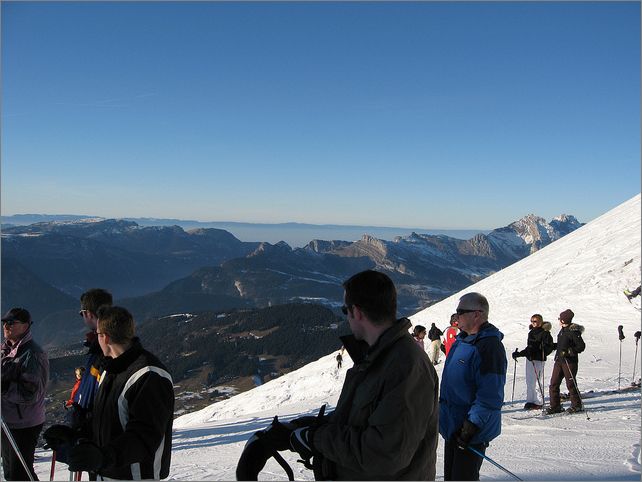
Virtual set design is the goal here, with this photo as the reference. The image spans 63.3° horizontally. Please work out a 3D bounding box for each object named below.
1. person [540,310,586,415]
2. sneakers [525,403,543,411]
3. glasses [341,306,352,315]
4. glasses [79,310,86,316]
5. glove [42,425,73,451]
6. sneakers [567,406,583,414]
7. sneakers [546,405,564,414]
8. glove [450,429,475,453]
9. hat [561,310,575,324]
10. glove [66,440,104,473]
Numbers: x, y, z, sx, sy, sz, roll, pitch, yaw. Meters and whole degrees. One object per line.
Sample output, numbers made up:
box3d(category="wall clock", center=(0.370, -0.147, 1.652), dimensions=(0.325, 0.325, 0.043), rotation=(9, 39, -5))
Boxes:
box3d(category="person", center=(6.691, 3.331, 14.211), dimensions=(0.948, 2.757, 0.980), rotation=(-2, 3, 27))
box3d(category="sneakers", center=(6.023, 4.683, 14.789), dimensions=(0.525, 0.237, 0.179), rotation=(2, -5, -16))
box3d(category="glasses", center=(0.333, 0.883, 6.695), dimensions=(0.113, 0.127, 0.036), rotation=(0, -3, -9))
box3d(category="glasses", center=(-4.127, 1.233, 8.975), dimensions=(0.131, 0.045, 0.129), rotation=(-4, 2, -28))
box3d(category="glove", center=(-3.800, 2.784, 7.415), dimensions=(0.212, 0.337, 0.424), rotation=(-23, -17, 36))
box3d(category="sneakers", center=(6.953, 4.579, 14.211), dimensions=(0.432, 0.204, 0.157), rotation=(-3, -8, -23))
box3d(category="sneakers", center=(6.416, 4.570, 14.114), dimensions=(0.513, 0.251, 0.177), rotation=(7, -25, -12))
box3d(category="glove", center=(2.158, 3.014, 7.916), dimensions=(0.161, 0.194, 0.444), rotation=(32, -6, 11))
box3d(category="hat", center=(6.883, 2.094, 14.483), dimensions=(0.310, 0.359, 0.431), rotation=(5, 4, 17))
box3d(category="glove", center=(-3.062, 2.816, 6.812), dimensions=(0.394, 0.327, 0.393), rotation=(-4, -33, 25))
